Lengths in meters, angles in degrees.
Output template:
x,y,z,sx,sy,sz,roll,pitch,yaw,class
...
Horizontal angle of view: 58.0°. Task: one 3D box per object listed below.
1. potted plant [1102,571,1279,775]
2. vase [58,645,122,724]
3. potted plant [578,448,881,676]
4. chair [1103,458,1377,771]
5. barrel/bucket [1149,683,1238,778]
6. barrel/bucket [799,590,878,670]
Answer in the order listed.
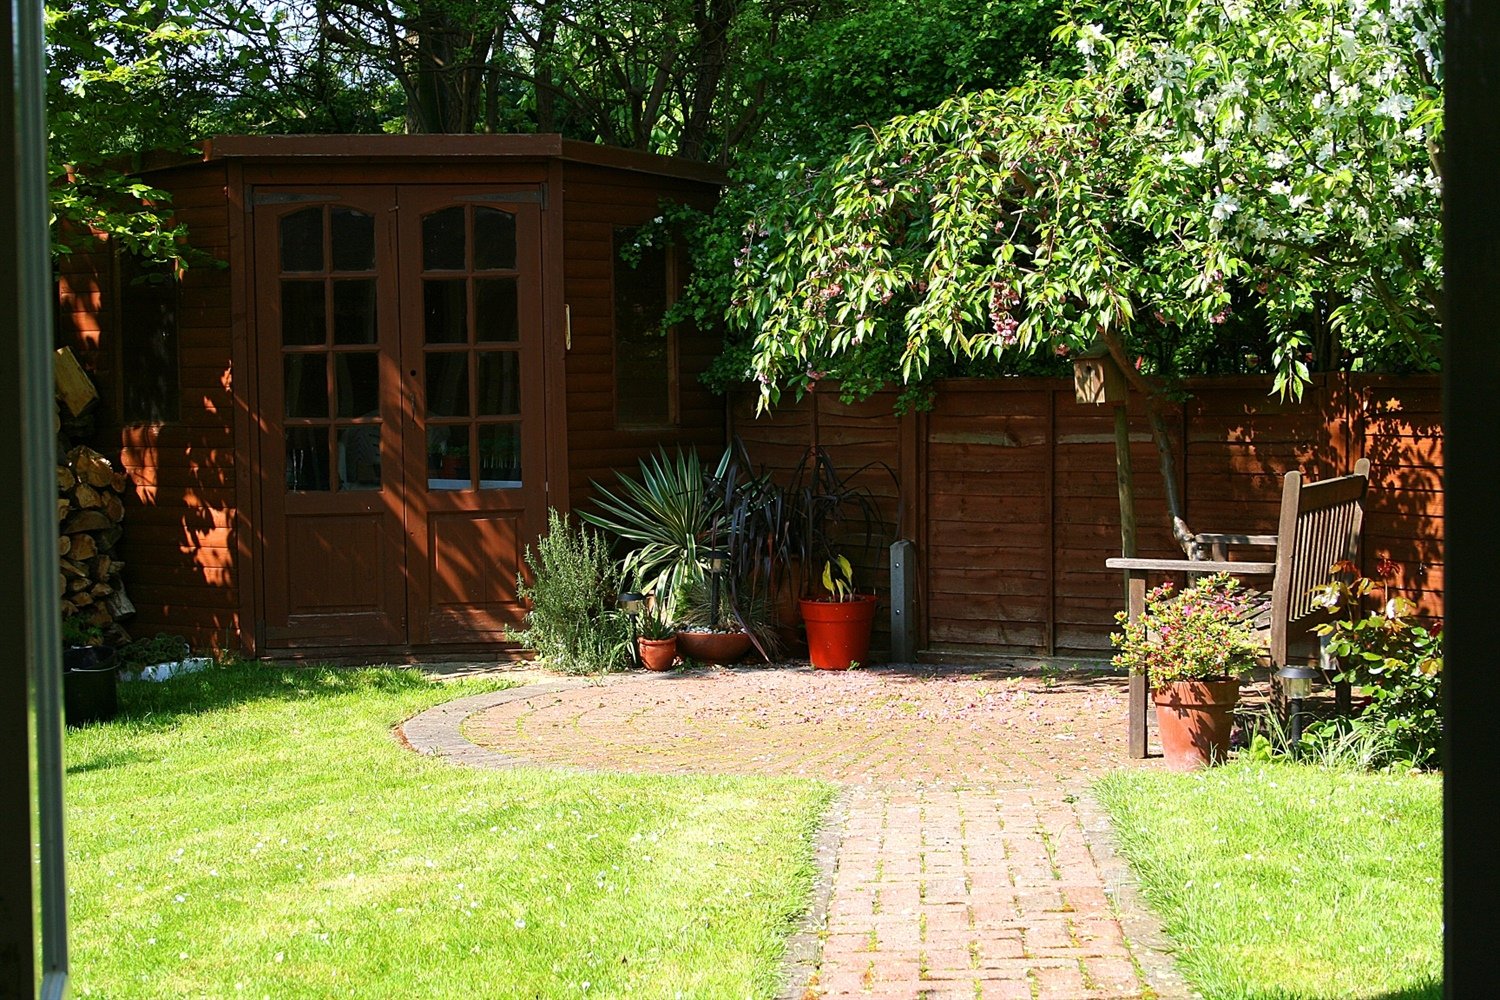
x,y,z,sx,sy,sz,roll,pitch,yaw,class
2.156,0.899,6.736,0.645,0.909,0.809,-9,-18,34,potted plant
-3.792,1.054,7.793,0.261,0.414,0.374,-4,6,-24,vase
-0.049,0.441,9.900,1.856,1.448,1.443,-1,-2,22,potted plant
2.818,0.514,7.517,0.907,1.401,2.308,-1,3,34,chair
2.127,1.068,6.484,0.380,0.425,0.162,0,6,17,barrel/bucket
0.652,0.940,9.623,0.663,0.479,0.686,0,1,0,barrel/bucket
